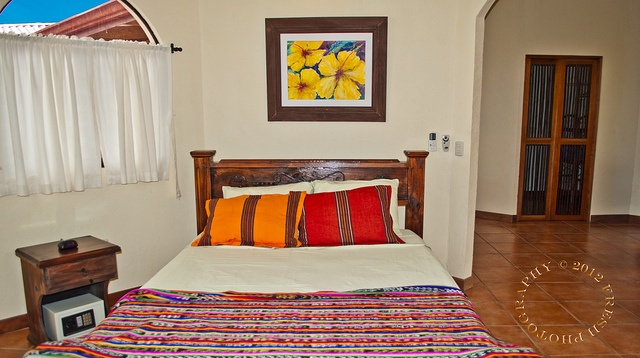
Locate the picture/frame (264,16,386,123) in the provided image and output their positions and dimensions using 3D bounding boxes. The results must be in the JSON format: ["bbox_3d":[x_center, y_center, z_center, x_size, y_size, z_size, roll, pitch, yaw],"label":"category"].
[{"bbox_3d":[0.111,-1.427,5.141,1.554,1.094,0.102,-1,10,1],"label":"picture/frame"}]
